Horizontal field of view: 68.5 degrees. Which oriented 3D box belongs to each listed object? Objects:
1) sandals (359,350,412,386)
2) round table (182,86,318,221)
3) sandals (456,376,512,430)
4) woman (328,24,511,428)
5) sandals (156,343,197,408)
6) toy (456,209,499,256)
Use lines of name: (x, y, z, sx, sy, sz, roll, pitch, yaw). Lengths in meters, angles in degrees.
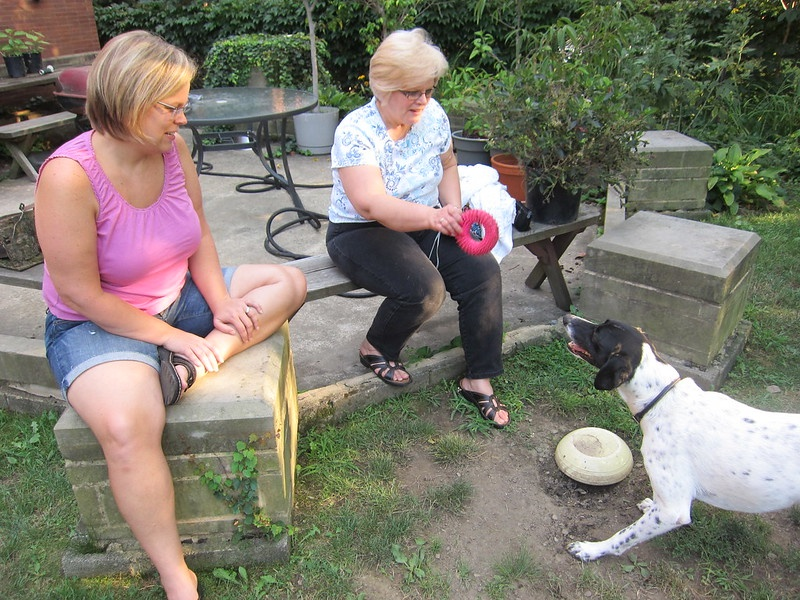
sandals: (-0.086, 0.365, 3.247, 0.288, 0.092, 0.132, 32, 37, 24)
round table: (-1.548, -1.375, 5.533, 1.275, 0.850, 1.293, 3, 16, -1)
sandals: (0.445, 0.556, 3.233, 0.131, 0.105, 0.340, -32, 60, -30)
woman: (0.093, -0.350, 3.041, 0.860, 1.823, 0.951, -12, 32, -15)
sandals: (-0.888, 0.298, 2.345, 0.110, 0.093, 0.269, -3, 27, -9)
toy: (0.380, -0.331, 2.947, 0.214, 0.246, 0.098, -5, 2, -6)
